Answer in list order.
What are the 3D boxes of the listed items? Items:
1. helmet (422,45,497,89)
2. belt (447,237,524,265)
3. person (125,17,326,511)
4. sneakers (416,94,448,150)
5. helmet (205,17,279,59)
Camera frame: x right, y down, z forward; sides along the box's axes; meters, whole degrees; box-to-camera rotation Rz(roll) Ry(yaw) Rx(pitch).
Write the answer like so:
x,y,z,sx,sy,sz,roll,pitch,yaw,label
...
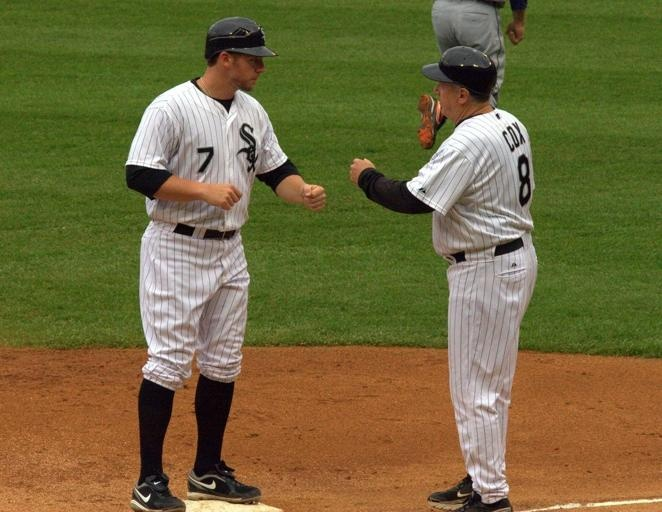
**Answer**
x,y,z,sx,sy,sz,roll,pitch,yaw,label
1.042,-1.483,11.184,0.489,0.221,0.344,18,25,0,helmet
1.245,-0.042,11.105,0.573,0.250,0.138,7,12,4,belt
-1.012,0.054,11.253,1.274,3.964,0.839,-2,15,-35,person
0.890,-1.206,12.434,0.213,0.543,0.244,-6,-27,21,sneakers
-0.751,-1.786,11.198,0.467,0.223,0.340,1,19,4,helmet
